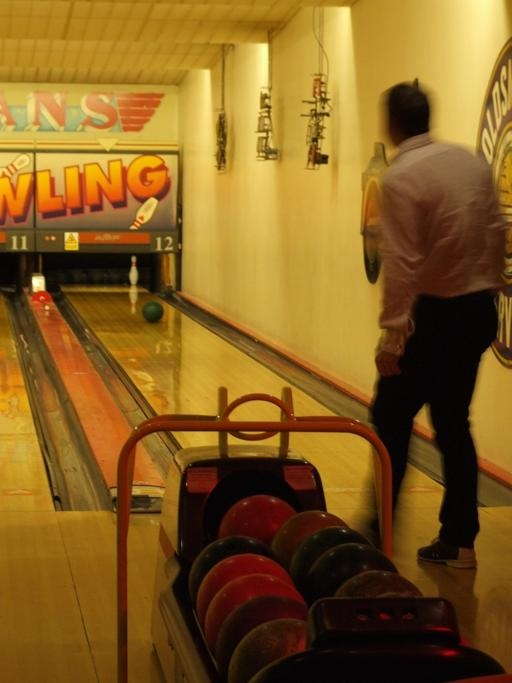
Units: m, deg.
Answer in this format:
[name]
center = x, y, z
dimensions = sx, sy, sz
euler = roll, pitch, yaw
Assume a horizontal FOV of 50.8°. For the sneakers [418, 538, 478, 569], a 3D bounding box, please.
[sneakers]
center = 0.632, 0.686, 1.815
dimensions = 0.193, 0.088, 0.077
euler = 7, -3, 30
